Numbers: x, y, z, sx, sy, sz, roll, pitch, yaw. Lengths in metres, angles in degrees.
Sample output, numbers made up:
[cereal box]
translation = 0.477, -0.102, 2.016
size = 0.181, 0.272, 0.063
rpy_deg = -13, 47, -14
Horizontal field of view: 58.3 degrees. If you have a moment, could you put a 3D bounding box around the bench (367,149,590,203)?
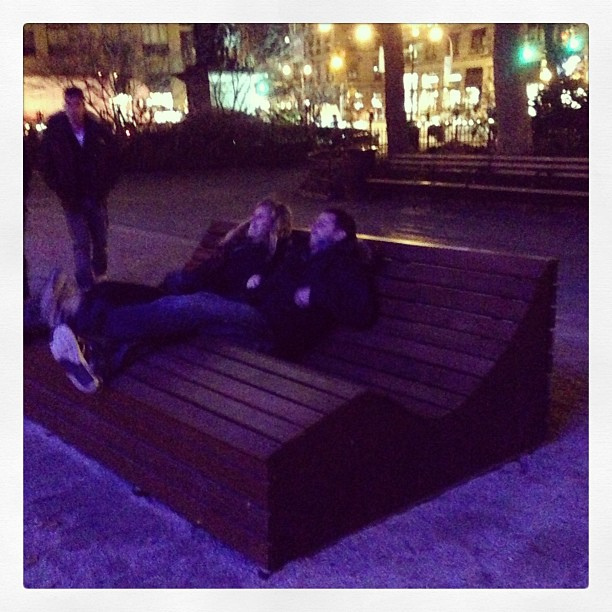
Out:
[bench]
translation = 0.817, -0.601, 2.642
size = 1.025, 0.279, 0.207
rpy_deg = 3, 1, 8

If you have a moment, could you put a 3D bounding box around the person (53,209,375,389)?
[person]
translation = -0.364, 0.034, 2.487
size = 0.965, 0.482, 0.948
rpy_deg = -18, 21, -21
